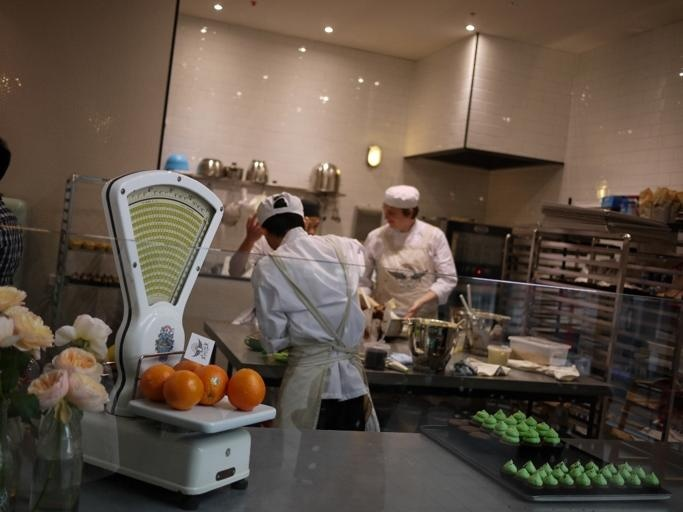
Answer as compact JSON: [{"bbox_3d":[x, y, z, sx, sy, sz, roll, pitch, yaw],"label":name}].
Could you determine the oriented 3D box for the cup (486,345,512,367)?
[{"bbox_3d":[0.355,0.227,1.107,0.047,0.039,0.042,3,7,-9],"label":"cup"}]

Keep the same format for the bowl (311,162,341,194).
[{"bbox_3d":[-0.143,-0.703,4.423,0.263,0.277,0.271,0,1,0],"label":"bowl"}]

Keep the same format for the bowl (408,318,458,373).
[{"bbox_3d":[0.213,0.206,1.131,0.131,0.121,0.109,2,5,-26],"label":"bowl"}]

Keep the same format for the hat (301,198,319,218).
[{"bbox_3d":[-0.194,-0.297,3.118,0.145,0.094,0.149,2,-2,11],"label":"hat"}]

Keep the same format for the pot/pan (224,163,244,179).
[{"bbox_3d":[-0.964,-0.748,4.279,0.147,0.149,0.149,12,18,15],"label":"pot/pan"}]

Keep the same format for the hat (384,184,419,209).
[{"bbox_3d":[0.405,-0.400,3.302,0.222,0.167,0.203,6,5,2],"label":"hat"}]

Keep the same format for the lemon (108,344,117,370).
[{"bbox_3d":[-0.397,0.175,0.837,0.013,0.036,0.028,3,-18,-3],"label":"lemon"}]

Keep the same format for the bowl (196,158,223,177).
[{"bbox_3d":[-1.143,-0.759,4.205,0.176,0.126,0.178,1,10,0],"label":"bowl"}]

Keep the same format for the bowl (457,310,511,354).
[{"bbox_3d":[0.325,0.170,1.153,0.121,0.106,0.096,4,4,-11],"label":"bowl"}]

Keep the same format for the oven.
[{"bbox_3d":[1.163,0.007,4.533,0.762,0.636,0.414,5,-14,-18],"label":"oven"}]

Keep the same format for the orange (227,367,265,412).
[{"bbox_3d":[-0.168,0.225,0.861,0.064,0.078,0.066,-18,1,-15],"label":"orange"}]

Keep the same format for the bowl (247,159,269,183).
[{"bbox_3d":[-0.741,-0.745,4.291,0.182,0.196,0.202,4,8,3],"label":"bowl"}]

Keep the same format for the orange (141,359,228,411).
[{"bbox_3d":[-0.261,0.204,0.812,0.089,0.046,0.091,1,-9,39],"label":"orange"}]

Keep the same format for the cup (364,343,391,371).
[{"bbox_3d":[0.082,0.232,1.123,0.055,0.055,0.055,1,3,0],"label":"cup"}]
